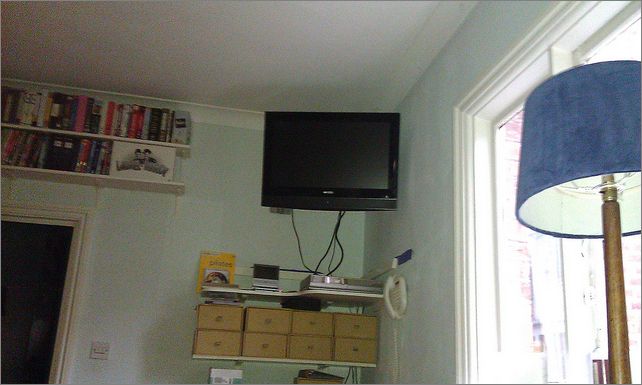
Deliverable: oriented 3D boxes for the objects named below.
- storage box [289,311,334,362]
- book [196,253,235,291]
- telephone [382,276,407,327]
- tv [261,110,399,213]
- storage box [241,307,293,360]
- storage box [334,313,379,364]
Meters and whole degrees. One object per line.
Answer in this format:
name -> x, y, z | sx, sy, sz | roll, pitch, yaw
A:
storage box -> -0.140, 1.221, 4.395 | 0.454, 0.335, 0.453 | 15, -19, -34
book -> -0.913, 0.692, 4.550 | 0.361, 0.400, 0.045 | 5, -37, -10
telephone -> 0.591, 0.820, 4.098 | 0.109, 0.299, 0.235 | 8, -14, -28
tv -> 0.085, -0.281, 4.425 | 1.215, 0.795, 0.098 | 0, 0, -15
storage box -> -0.330, 1.174, 4.351 | 0.602, 0.388, 0.570 | 7, -14, -20
storage box -> 0.421, 1.244, 4.444 | 0.433, 0.401, 0.449 | -9, -17, 38
